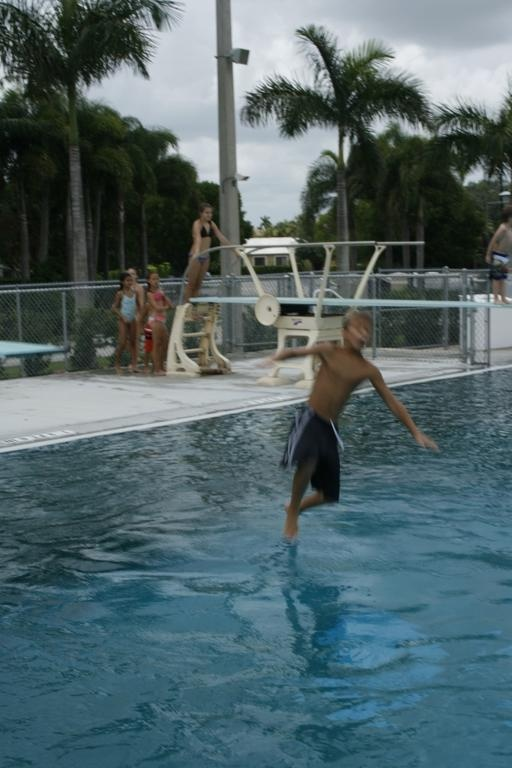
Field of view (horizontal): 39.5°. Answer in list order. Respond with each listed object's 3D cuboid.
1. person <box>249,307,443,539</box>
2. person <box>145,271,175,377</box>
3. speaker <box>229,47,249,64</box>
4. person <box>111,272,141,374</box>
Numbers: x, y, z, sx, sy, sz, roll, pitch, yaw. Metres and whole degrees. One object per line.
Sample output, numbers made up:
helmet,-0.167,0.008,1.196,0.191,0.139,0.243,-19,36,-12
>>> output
person,0.482,0.383,4.556,0.851,1.337,0.656,-1,5,-4
person,-1.784,-1.079,13.090,0.455,1.825,1.148,-2,5,-7
speaker,-0.399,-7.622,16.688,0.247,0.349,0.459,-5,6,-37
person,-2.362,-1.116,13.236,0.519,1.844,0.740,-2,5,-12
